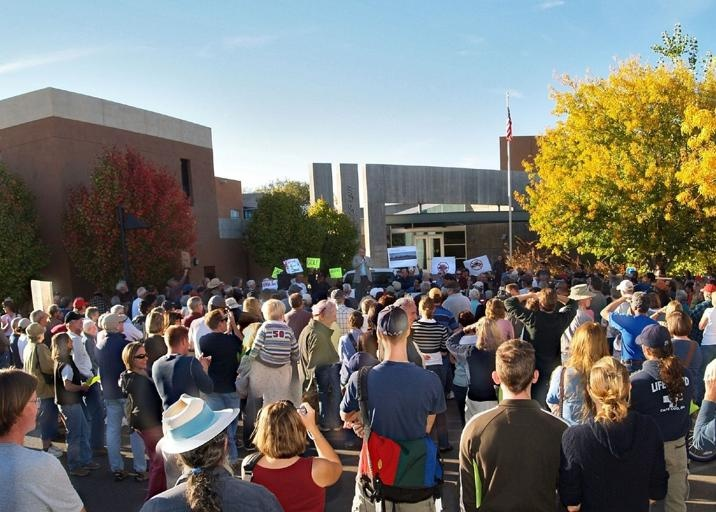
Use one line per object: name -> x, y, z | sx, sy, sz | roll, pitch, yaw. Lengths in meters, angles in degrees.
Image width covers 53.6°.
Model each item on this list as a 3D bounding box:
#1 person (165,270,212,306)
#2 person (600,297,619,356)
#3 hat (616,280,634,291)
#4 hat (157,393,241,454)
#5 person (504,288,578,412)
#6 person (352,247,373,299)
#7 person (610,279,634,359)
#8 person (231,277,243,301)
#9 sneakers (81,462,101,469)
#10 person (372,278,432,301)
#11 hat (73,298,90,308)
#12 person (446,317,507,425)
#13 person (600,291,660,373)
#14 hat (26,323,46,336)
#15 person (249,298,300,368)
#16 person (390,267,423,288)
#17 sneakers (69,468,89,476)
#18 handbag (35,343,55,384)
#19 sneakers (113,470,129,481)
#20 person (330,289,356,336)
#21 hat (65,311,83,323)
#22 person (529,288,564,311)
person -> -4.516, 0.804, 18.554 | 0.799, 0.521, 1.494 | 11, -5, 10
person -> 4.169, 1.174, 11.732 | 0.353, 1.264, 0.356 | -4, 30, 19
hat -> 4.500, 0.513, 11.941 | 0.202, 0.173, 0.291 | -3, 12, 1
hat -> -1.891, 1.759, 7.907 | 0.860, 0.355, 0.970 | -11, 13, 23
person -> 3.012, 1.604, 11.520 | 0.915, 2.446, 0.615 | -3, 27, 8
person -> 0.103, 0.472, 21.073 | 0.539, 1.438, 1.436 | -2, -1, 1
person -> 4.673, 1.059, 12.150 | 0.341, 1.352, 0.450 | -12, 22, 19
person -> -2.798, 0.758, 16.372 | 0.323, 0.333, 0.950 | -1, -26, -5
sneakers -> -4.298, 3.355, 11.463 | 0.236, 0.113, 0.092 | 3, 7, -2
person -> 0.914, 0.807, 15.545 | 0.953, 0.562, 0.590 | -8, 5, -14
hat -> -6.815, 1.134, 17.412 | 0.223, 0.197, 0.363 | 9, 24, 12
person -> 1.824, 1.988, 10.912 | 0.806, 2.290, 0.626 | -10, 24, -15
person -> 4.033, 1.122, 10.471 | 0.883, 2.012, 0.604 | -1, 42, 20
hat -> -5.277, 1.188, 11.599 | 0.287, 0.163, 0.230 | -1, -1, -41
person -> -1.336, 1.219, 11.298 | 0.747, 0.949, 0.302 | -2, 0, -9
person -> 1.399, 0.623, 20.582 | 0.510, 0.284, 0.747 | 1, 29, 4
sneakers -> -4.455, 3.416, 11.345 | 0.275, 0.131, 0.134 | 1, 8, 1
handbag -> -5.137, 1.774, 11.634 | 0.213, 0.559, 0.391 | 2, 5, -20
sneakers -> -3.725, 3.416, 11.158 | 0.093, 0.170, 0.248 | -1, 3, -2
person -> -0.261, 1.247, 12.811 | 0.339, 1.146, 0.339 | -9, 38, -6
hat -> -4.757, 1.043, 11.923 | 0.278, 0.156, 0.170 | -21, 22, -31
person -> 3.018, 0.696, 11.330 | 0.440, 0.251, 0.782 | -3, 8, 7
